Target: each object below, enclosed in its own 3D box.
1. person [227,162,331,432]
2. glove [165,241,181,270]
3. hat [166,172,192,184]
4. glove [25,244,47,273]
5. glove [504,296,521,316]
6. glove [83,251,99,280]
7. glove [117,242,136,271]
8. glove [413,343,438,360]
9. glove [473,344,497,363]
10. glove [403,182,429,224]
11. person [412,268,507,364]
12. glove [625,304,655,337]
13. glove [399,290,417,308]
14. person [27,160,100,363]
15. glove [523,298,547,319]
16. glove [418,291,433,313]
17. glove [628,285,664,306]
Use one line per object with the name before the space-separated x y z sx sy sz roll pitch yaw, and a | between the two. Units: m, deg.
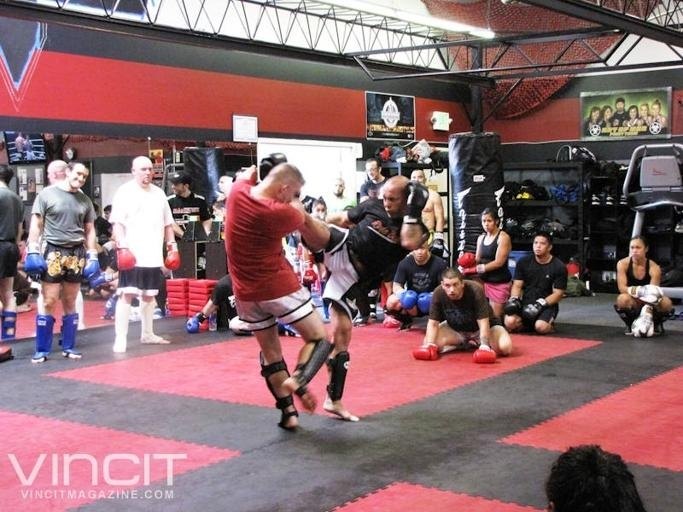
person | -0.424 0.309 3.570 0.677 1.943 0.721 -1 3 2
glove | -2.181 0.001 6.930 0.192 0.352 0.284 7 -11 -36
hat | -2.674 -1.224 8.610 0.359 0.174 0.226 17 31 1
glove | -3.336 0.046 5.800 0.265 0.273 0.117 4 -2 -7
glove | 2.446 0.699 7.456 0.173 0.232 0.345 2 4 43
glove | -2.962 0.123 6.371 0.250 0.303 0.145 0 -7 21
glove | -2.545 0.029 6.261 0.195 0.290 0.177 -2 3 -20
glove | 0.950 1.092 5.997 0.239 0.154 0.198 -7 -7 38
glove | 1.538 1.074 5.773 0.256 0.181 0.186 0 -6 -17
glove | 0.560 -0.387 3.953 0.232 0.265 0.134 6 -2 -13
person | 1.339 0.657 6.256 1.112 0.911 1.159 -4 -3 34
glove | 4.008 0.905 7.071 0.203 0.224 0.543 9 45 40
glove | 0.921 0.602 7.228 0.270 0.206 0.192 1 0 10
person | -3.190 0.140 6.057 0.792 2.114 0.414 -4 4 -41
glove | 2.660 0.726 7.292 0.345 0.191 0.136 -36 -43 22
glove | 1.142 0.657 7.301 0.237 0.246 0.279 -2 10 7
glove | 4.066 0.515 7.100 0.340 0.132 0.261 13 22 42
